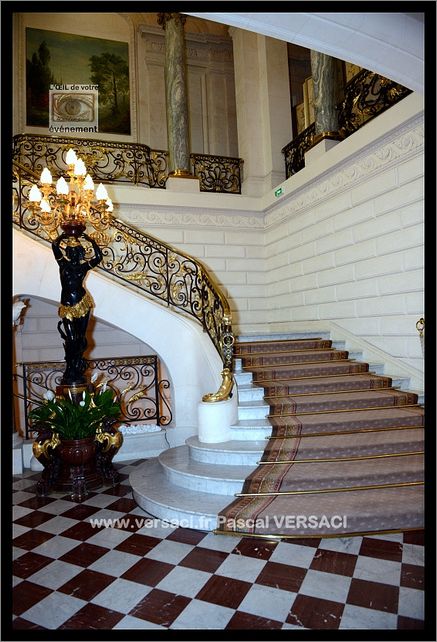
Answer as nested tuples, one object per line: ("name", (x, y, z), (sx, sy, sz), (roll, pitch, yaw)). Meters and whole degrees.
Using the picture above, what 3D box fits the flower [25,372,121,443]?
("flower", (-1.350, 0.861, 4.333), (0.885, 0.347, 0.706), (3, 8, 37))

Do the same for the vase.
("vase", (-1.245, 1.184, 4.216), (0.559, 0.406, 0.547), (0, -1, -42))

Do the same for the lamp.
("lamp", (-1.466, -0.556, 4.974), (0.827, 1.927, 2.261), (-7, 3, -12))
